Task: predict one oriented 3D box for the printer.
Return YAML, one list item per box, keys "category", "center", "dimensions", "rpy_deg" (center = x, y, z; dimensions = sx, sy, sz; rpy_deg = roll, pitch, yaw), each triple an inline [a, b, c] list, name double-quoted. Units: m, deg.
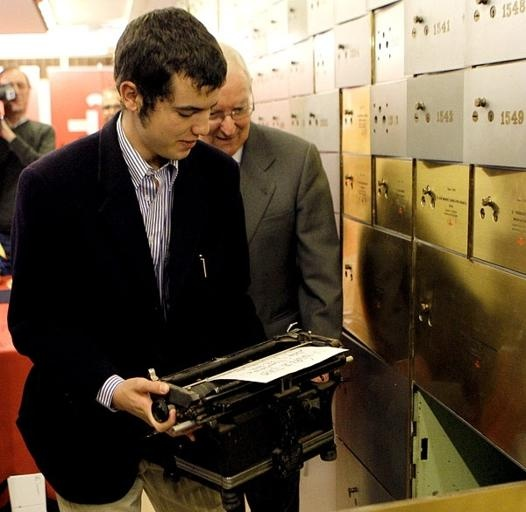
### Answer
- category: "printer"
  center: [-0.039, 0.285, 1.082]
  dimensions: [0.464, 0.323, 0.368]
  rpy_deg: [-21, 17, -27]
